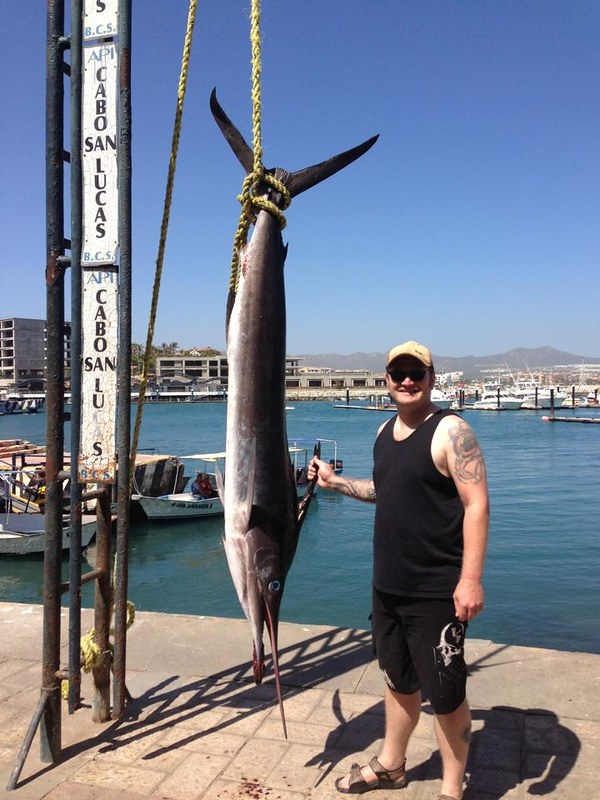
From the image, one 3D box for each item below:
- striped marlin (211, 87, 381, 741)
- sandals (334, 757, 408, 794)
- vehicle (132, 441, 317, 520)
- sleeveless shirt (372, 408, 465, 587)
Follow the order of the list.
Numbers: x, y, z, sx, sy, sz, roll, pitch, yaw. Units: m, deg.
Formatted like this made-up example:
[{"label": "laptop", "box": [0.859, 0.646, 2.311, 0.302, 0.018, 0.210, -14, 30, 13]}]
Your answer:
[{"label": "striped marlin", "box": [-0.132, 0.006, 2.690, 0.379, 2.311, 0.771, 0, -3, 24]}, {"label": "sandals", "box": [0.307, 1.588, 2.936, 0.315, 0.124, 0.119, 2, -11, -2]}, {"label": "vehicle", "box": [-1.931, 2.404, 19.921, 1.823, 2.122, 7.760, -7, -9, 36]}, {"label": "sleeveless shirt", "box": [0.459, 0.412, 2.796, 0.183, 0.743, 0.402, 7, -8, -43]}]
